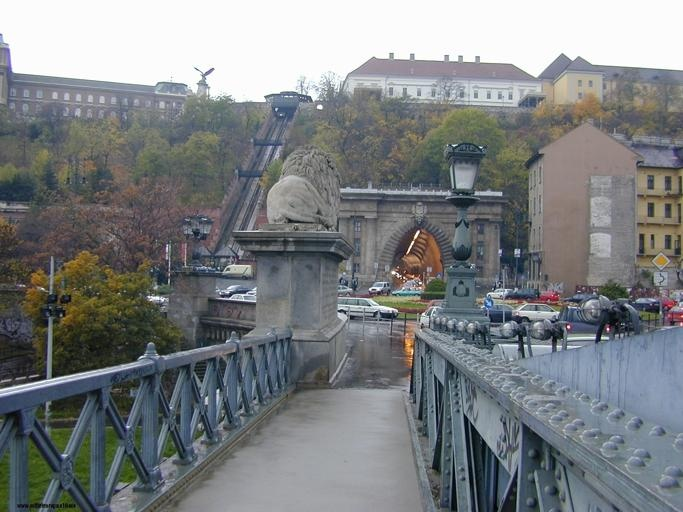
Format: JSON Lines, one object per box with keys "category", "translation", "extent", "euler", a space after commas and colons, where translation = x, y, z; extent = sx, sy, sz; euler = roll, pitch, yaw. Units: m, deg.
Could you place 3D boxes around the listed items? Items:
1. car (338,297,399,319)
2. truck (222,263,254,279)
{"category": "car", "translation": [1.014, 2.249, 42.193], "extent": [2.580, 0.943, 1.215], "euler": [-1, 0, 17]}
{"category": "truck", "translation": [-8.052, 1.178, 76.787], "extent": [2.082, 0.867, 1.106], "euler": [3, 1, 3]}
